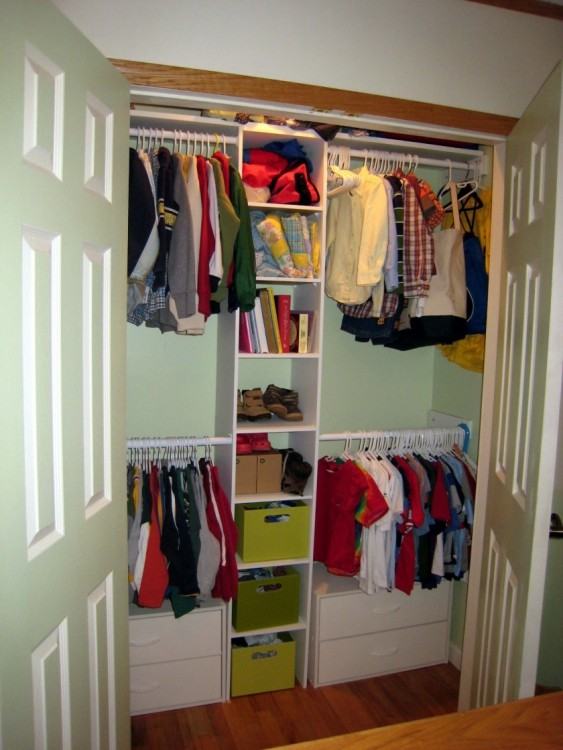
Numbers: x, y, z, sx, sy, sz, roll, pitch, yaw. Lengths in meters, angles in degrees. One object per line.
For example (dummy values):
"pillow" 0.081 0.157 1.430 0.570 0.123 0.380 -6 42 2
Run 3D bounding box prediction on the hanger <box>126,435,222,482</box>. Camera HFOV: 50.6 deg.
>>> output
"hanger" -0.422 0.301 2.421 0.393 0.127 0.318 1 3 -18

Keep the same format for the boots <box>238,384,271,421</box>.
"boots" -0.119 0.129 2.566 0.066 0.124 0.223 -3 3 -18

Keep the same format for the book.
"book" -0.014 -0.198 2.427 0.202 0.381 0.300 -3 10 -16

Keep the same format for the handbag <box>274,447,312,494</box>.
"handbag" 0.038 0.375 2.558 0.105 0.252 0.213 3 -1 -22

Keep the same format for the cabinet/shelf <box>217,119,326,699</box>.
"cabinet/shelf" -0.042 0.178 2.561 0.464 2.268 0.720 0 2 -7

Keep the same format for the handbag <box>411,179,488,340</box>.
"handbag" 0.705 -0.470 2.523 0.304 0.696 0.256 0 2 -17

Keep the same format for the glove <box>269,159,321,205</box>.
"glove" 0.051 -0.746 2.337 0.193 0.172 0.112 0 2 -27

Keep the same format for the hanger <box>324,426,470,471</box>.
"hanger" 0.519 0.298 2.718 0.717 0.152 0.290 1 2 -15

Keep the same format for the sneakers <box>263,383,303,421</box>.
"sneakers" 0.008 0.120 2.642 0.083 0.110 0.228 24 -3 -27

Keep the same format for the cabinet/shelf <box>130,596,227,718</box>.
"cabinet/shelf" -0.392 1.074 2.356 0.438 0.518 0.329 -1 3 -12
